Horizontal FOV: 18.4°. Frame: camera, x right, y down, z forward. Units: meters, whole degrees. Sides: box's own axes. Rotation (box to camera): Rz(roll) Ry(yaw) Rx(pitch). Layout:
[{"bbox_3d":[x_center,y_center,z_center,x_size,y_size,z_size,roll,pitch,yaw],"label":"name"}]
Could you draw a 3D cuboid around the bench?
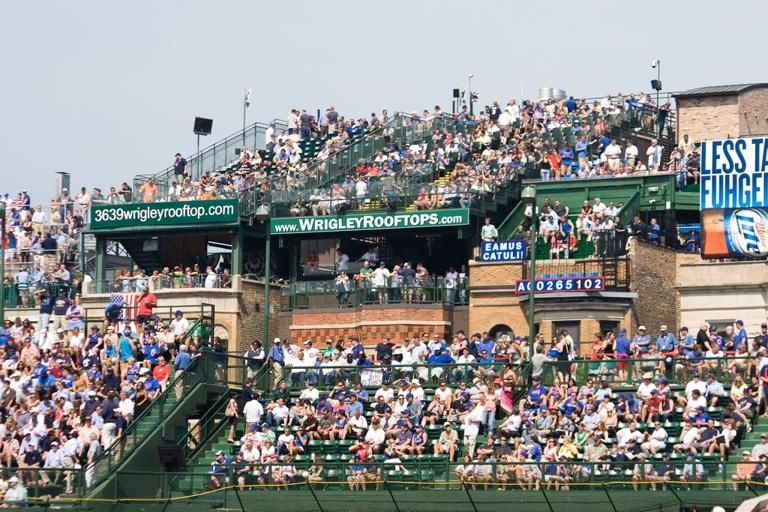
[{"bbox_3d":[6.958,-0.633,87.242,2.158,2.126,3.558,-3,2,23],"label":"bench"}]
